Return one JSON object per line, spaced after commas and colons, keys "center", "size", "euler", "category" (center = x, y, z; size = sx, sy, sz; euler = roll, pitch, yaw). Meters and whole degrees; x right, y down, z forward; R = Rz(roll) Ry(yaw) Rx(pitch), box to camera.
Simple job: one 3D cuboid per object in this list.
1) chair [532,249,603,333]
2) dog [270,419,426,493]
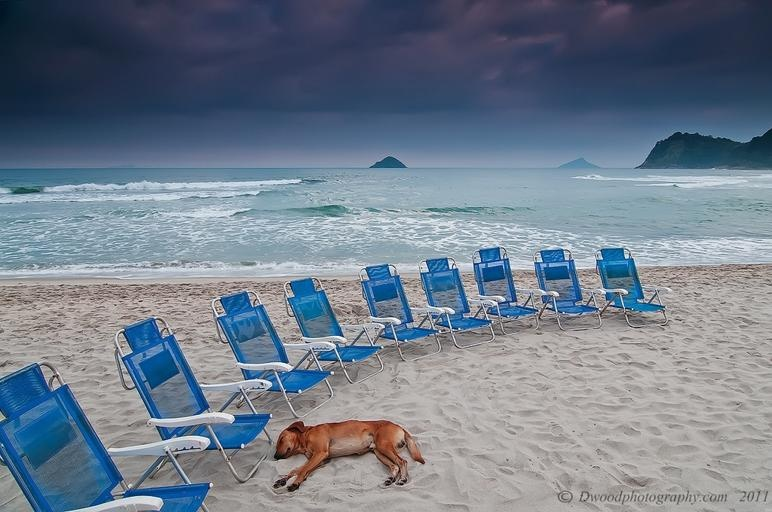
{"center": [3.906, 0.685, 11.445], "size": [1.232, 1.630, 1.306], "euler": [-7, 13, 13], "category": "chair"}
{"center": [-0.613, 3.038, 8.042], "size": [2.293, 0.824, 0.828], "euler": [-5, 12, 0], "category": "dog"}
